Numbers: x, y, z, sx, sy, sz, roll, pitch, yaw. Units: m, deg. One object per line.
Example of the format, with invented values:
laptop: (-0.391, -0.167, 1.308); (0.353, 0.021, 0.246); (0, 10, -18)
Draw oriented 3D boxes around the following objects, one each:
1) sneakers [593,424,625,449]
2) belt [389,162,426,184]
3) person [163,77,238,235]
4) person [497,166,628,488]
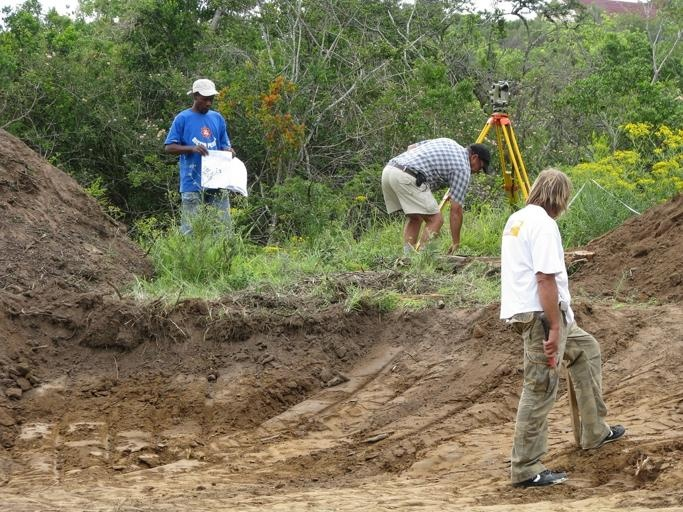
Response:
sneakers: (2.593, 1.722, 8.600); (0.326, 0.151, 0.128); (-26, 9, -15)
belt: (0.929, -1.114, 12.130); (0.329, 0.101, 0.311); (28, 6, 2)
person: (-1.949, -1.353, 11.980); (0.871, 2.106, 0.749); (0, -5, -7)
person: (2.052, 0.664, 8.471); (0.923, 2.995, 0.514); (1, -5, -24)
